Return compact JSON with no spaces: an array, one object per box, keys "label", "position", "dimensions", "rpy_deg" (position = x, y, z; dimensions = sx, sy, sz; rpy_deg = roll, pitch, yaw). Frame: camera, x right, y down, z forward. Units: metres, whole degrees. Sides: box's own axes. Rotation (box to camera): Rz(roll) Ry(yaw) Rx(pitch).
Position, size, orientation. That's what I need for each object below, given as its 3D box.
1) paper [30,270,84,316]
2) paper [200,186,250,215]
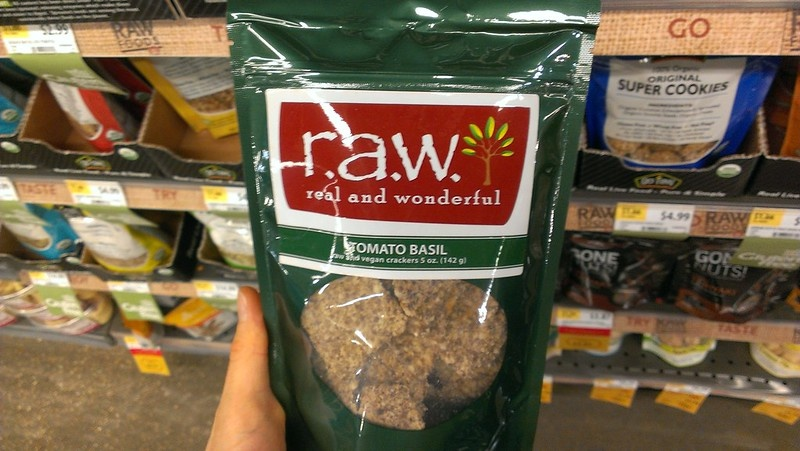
[{"label":"paper","position":[-1.383,0.268,2.310],"dimensions":[0.221,0.268,0.046],"rpy_deg":[14,56,-4]},{"label":"paper","position":[-0.596,-0.091,1.951],"dimensions":[0.137,0.082,0.013],"rpy_deg":[4,37,6]}]
